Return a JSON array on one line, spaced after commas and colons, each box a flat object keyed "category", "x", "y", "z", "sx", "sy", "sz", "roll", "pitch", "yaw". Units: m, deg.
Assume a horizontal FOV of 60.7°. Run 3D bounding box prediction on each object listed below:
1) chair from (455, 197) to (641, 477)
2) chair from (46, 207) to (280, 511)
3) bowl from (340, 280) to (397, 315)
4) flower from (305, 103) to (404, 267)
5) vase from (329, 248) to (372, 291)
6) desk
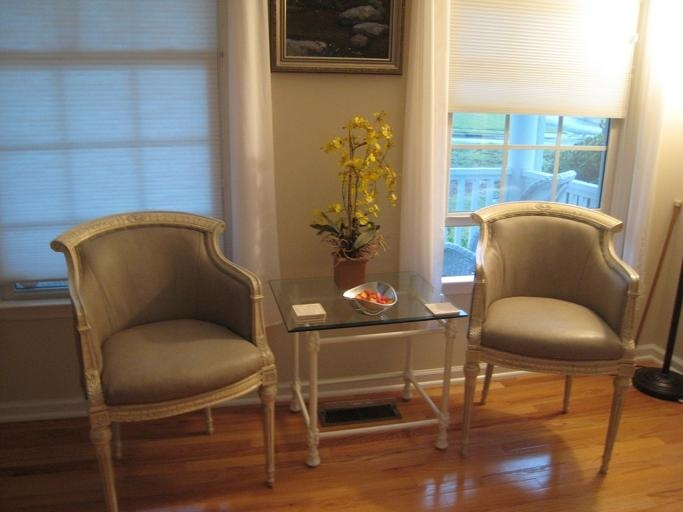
[{"category": "chair", "x": 1.086, "y": 0.392, "z": 3.110, "sx": 0.812, "sy": 1.270, "sz": 0.761, "roll": 2, "pitch": 20, "yaw": 12}, {"category": "chair", "x": -0.813, "y": 0.467, "z": 2.818, "sx": 0.850, "sy": 1.275, "sz": 0.756, "roll": -11, "pitch": 22, "yaw": -22}, {"category": "bowl", "x": 0.146, "y": 0.213, "z": 2.952, "sx": 0.276, "sy": 0.088, "sz": 0.265, "roll": -1, "pitch": 17, "yaw": 0}, {"category": "flower", "x": 0.061, "y": -0.347, "z": 3.168, "sx": 0.490, "sy": 0.819, "sz": 0.599, "roll": -1, "pitch": 20, "yaw": 4}, {"category": "vase", "x": 0.031, "y": 0.060, "z": 3.130, "sx": 0.249, "sy": 0.166, "sz": 0.236, "roll": 14, "pitch": 26, "yaw": 24}, {"category": "desk", "x": 0.128, "y": 0.391, "z": 3.272, "sx": 1.419, "sy": 0.866, "sz": 0.972, "roll": -3, "pitch": 24, "yaw": -12}]
